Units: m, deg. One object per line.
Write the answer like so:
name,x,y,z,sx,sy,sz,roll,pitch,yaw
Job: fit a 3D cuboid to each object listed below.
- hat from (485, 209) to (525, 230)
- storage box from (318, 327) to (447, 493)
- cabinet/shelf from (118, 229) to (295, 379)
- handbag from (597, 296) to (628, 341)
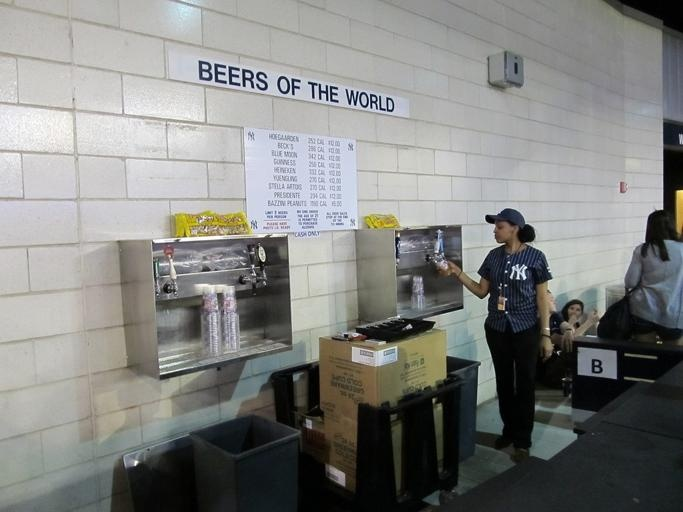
hat,1.333,-0.313,4.002,0.231,0.145,0.301,-4,8,-15
storage box,0.282,0.953,3.250,0.713,0.968,0.516,-4,4,-43
cabinet/shelf,-0.827,0.264,2.880,0.345,0.780,0.920,-1,3,45
handbag,2.423,0.547,4.295,0.432,0.348,0.203,-6,9,-29
